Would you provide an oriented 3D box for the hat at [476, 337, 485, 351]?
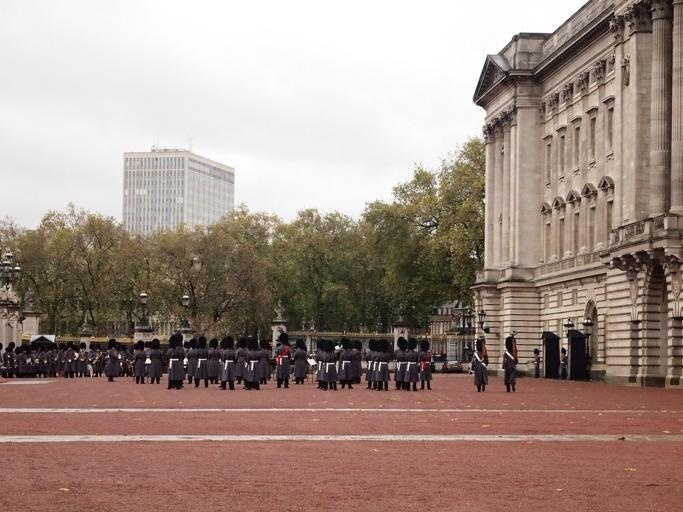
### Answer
[{"bbox_3d":[4.963,3.168,54.667,0.315,0.588,0.785,1,-10,5],"label":"hat"}]
